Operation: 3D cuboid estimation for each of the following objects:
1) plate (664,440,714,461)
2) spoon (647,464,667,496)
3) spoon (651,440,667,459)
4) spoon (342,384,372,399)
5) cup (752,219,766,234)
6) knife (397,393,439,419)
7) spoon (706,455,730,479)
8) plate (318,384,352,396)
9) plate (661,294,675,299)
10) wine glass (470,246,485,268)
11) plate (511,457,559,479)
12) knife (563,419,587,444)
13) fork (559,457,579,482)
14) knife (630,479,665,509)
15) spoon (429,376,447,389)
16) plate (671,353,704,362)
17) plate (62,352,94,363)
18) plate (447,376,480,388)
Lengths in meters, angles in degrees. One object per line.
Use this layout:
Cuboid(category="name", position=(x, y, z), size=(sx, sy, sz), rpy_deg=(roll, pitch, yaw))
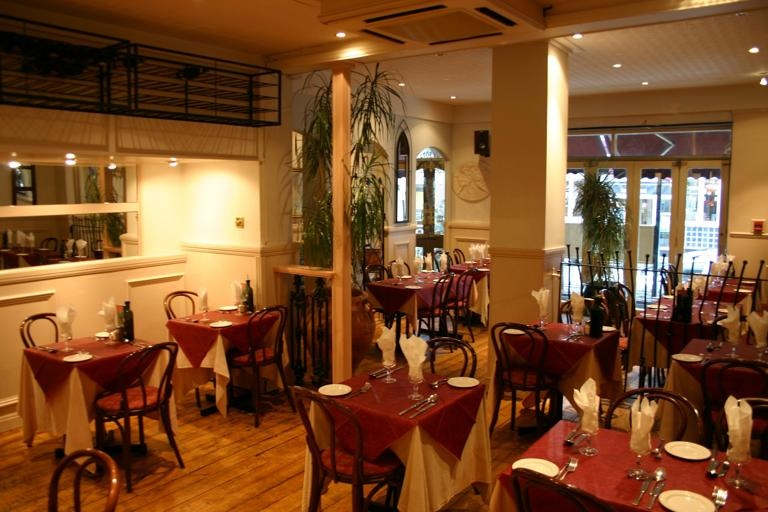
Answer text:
Cuboid(category="plate", position=(2.099, 1.352, 3.892), size=(0.288, 0.071, 0.221), rpy_deg=(0, 3, 28))
Cuboid(category="spoon", position=(1.767, 1.455, 3.629), size=(0.061, 0.047, 0.322), rpy_deg=(1, 14, 26))
Cuboid(category="spoon", position=(1.902, 1.352, 3.905), size=(0.046, 0.027, 0.228), rpy_deg=(10, 13, 21))
Cuboid(category="spoon", position=(-0.216, 1.106, 4.626), size=(0.073, 0.059, 0.418), rpy_deg=(5, 6, 21))
Cuboid(category="cup", position=(6.141, -0.475, 9.241), size=(0.222, 0.235, 0.218), rpy_deg=(0, 1, 0))
Cuboid(category="knife", position=(0.288, 1.164, 4.403), size=(0.107, 0.027, 0.405), rpy_deg=(2, 5, 33))
Cuboid(category="spoon", position=(2.210, 1.405, 3.726), size=(0.077, 0.053, 0.265), rpy_deg=(1, 4, 31))
Cuboid(category="plate", position=(-0.398, 1.109, 4.608), size=(0.261, 0.051, 0.355), rpy_deg=(-1, 3, -1))
Cuboid(category="plate", position=(3.669, 0.530, 7.282), size=(0.117, 0.019, 0.119), rpy_deg=(1, 7, 41))
Cuboid(category="wine glass", position=(1.632, 0.000, 9.955), size=(0.346, 0.479, 0.339), rpy_deg=(-1, 4, 18))
Cuboid(category="plate", position=(1.015, 1.407, 3.759), size=(0.197, 0.026, 0.192), rpy_deg=(3, 7, 1))
Cuboid(category="knife", position=(1.369, 1.277, 4.056), size=(0.072, 0.034, 0.248), rpy_deg=(11, 21, 31))
Cuboid(category="fork", position=(1.229, 1.414, 3.730), size=(0.060, 0.041, 0.362), rpy_deg=(13, 19, 27))
Cuboid(category="knife", position=(1.678, 1.495, 3.547), size=(0.091, 0.017, 0.348), rpy_deg=(1, 16, 34))
Cuboid(category="spoon", position=(0.464, 1.080, 4.800), size=(0.139, 0.046, 0.272), rpy_deg=(0, 3, 17))
Cuboid(category="plate", position=(2.755, 0.924, 5.116), size=(0.271, 0.045, 0.212), rpy_deg=(0, 3, 14))
Cuboid(category="plate", position=(-2.882, 0.953, 5.292), size=(0.242, 0.049, 0.269), rpy_deg=(-3, 3, -30))
Cuboid(category="plate", position=(0.669, 1.072, 4.781), size=(0.272, 0.054, 0.217), rpy_deg=(-1, 3, 10))
